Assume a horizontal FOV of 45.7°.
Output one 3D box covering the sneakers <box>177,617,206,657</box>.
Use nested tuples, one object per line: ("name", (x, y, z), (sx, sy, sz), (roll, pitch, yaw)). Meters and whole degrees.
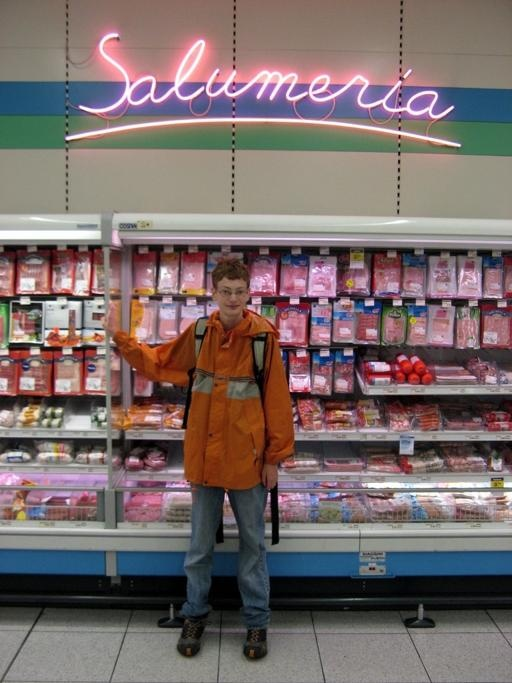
("sneakers", (-0.305, 1.371, 2.825), (0.071, 0.084, 0.204), (8, 0, 1))

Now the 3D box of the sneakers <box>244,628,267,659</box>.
("sneakers", (-0.010, 1.385, 2.766), (0.066, 0.071, 0.172), (0, -14, 2))

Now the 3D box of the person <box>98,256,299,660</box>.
("person", (-0.201, 0.544, 2.787), (0.726, 1.812, 0.383), (1, 11, 3))

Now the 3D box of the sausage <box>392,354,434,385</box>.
("sausage", (0.859, 0.154, 3.325), (0.222, 0.132, 0.196), (3, 11, 12))
